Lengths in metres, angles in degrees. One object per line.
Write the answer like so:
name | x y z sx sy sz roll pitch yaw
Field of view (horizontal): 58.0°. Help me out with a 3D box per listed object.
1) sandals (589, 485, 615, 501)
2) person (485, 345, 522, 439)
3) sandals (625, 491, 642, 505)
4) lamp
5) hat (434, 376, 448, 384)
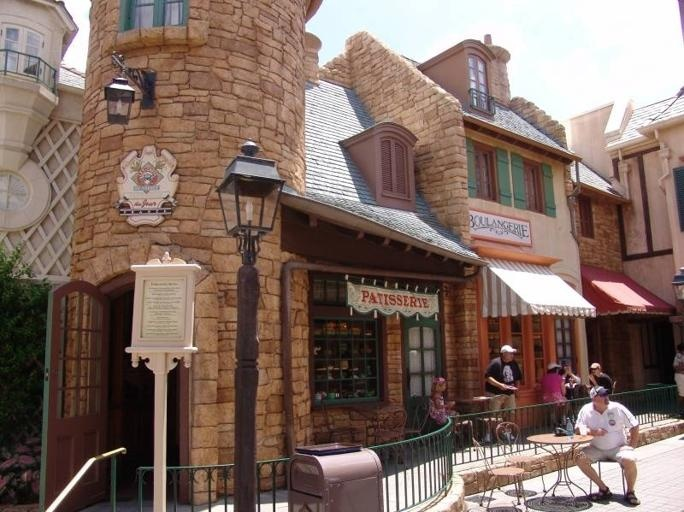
sandals | 4.477 4.116 10.686 0.461 0.192 0.162 3 -17 -11
person | 3.617 3.021 13.808 0.976 2.021 0.892 1 0 -21
sandals | 4.898 4.094 10.446 0.226 0.195 0.207 -9 -15 20
lamp | -3.750 -2.952 10.905 0.865 1.405 0.449 14 -19 -31
hat | 2.131 2.715 13.539 0.264 0.142 0.345 0 -2 -1
